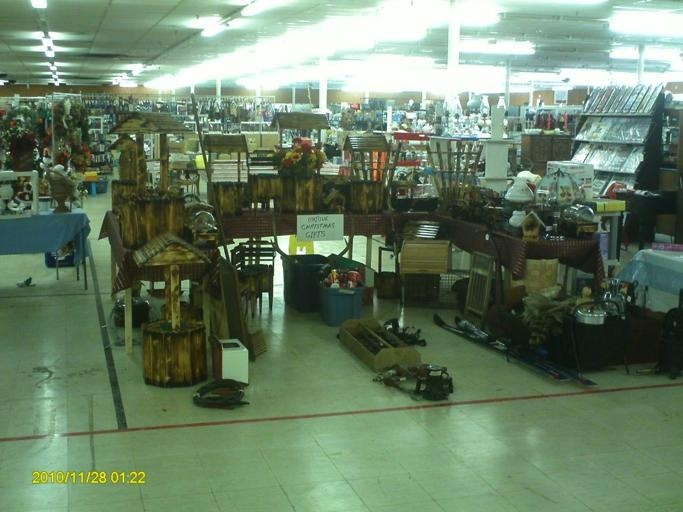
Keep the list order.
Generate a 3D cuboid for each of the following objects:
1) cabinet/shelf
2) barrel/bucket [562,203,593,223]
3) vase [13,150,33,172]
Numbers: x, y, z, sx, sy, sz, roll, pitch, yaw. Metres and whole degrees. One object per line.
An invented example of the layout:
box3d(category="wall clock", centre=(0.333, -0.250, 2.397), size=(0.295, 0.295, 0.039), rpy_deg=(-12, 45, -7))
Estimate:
box3d(category="cabinet/shelf", centre=(4.543, -1.498, 13.346), size=(1.222, 3.630, 2.435), rpy_deg=(-4, 13, -16))
box3d(category="barrel/bucket", centre=(2.631, -0.473, 8.802), size=(0.315, 0.163, 0.418), rpy_deg=(1, 12, 7))
box3d(category="vase", centre=(-4.489, -1.342, 11.159), size=(0.270, 0.267, 0.273), rpy_deg=(-6, 12, -25))
